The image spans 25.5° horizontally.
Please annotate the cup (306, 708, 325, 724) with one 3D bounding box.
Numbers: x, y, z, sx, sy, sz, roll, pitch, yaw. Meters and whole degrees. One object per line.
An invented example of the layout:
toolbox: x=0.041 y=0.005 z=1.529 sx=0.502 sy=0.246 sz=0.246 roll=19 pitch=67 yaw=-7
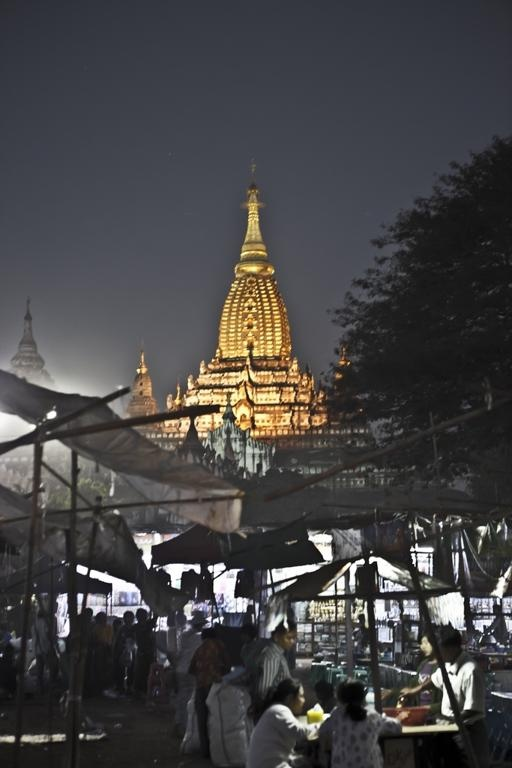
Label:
cup: x=0.472 y=2.618 z=8.939 sx=0.136 sy=0.169 sz=0.144 roll=0 pitch=-5 yaw=0
